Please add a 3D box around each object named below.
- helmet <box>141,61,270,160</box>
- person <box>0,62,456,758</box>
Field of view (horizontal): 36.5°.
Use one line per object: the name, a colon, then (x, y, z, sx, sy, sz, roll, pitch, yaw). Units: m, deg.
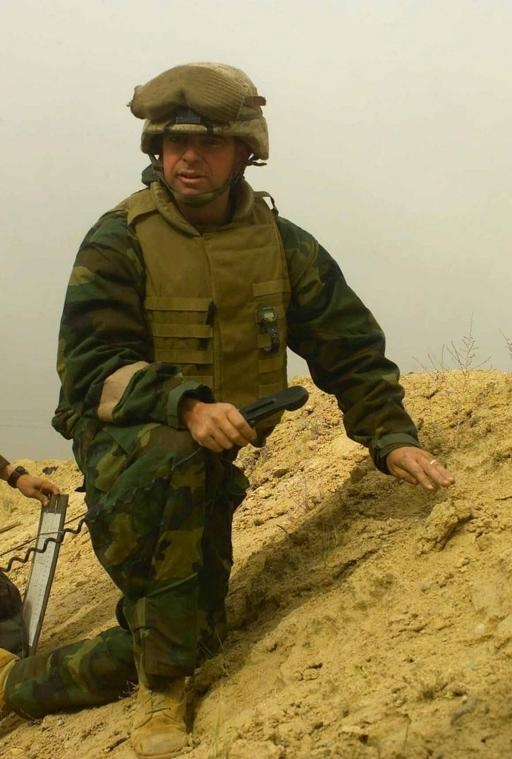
helmet: (-0.231, -1.134, 3.259, 0.606, 0.336, 0.607, 11, 18, 17)
person: (-0.177, -0.017, 3.081, 1.343, 2.449, 1.202, -4, -15, -35)
